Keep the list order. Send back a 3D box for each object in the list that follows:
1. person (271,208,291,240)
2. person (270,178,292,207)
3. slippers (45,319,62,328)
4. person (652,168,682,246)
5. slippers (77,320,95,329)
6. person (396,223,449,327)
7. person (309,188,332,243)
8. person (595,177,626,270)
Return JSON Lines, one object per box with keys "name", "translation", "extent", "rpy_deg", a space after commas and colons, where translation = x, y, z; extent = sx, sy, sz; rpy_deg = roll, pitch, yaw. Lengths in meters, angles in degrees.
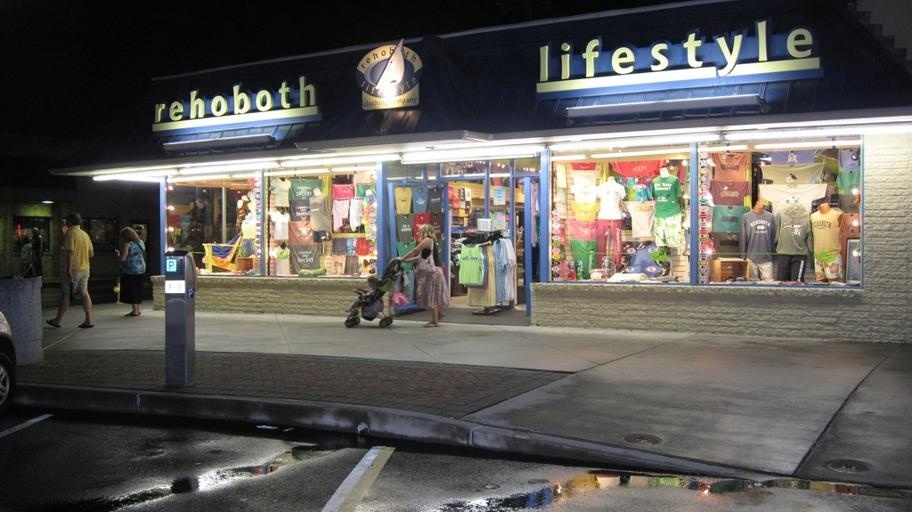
{"name": "person", "translation": [-5.356, -0.938, 18.589], "extent": [0.560, 0.961, 0.229], "rpy_deg": [0, 12, 7]}
{"name": "person", "translation": [-5.314, -1.914, 18.583], "extent": [0.988, 0.948, 0.578], "rpy_deg": [1, -1, -6]}
{"name": "slippers", "translation": [-10.819, 1.823, 16.309], "extent": [0.591, 0.167, 0.203], "rpy_deg": [10, 0, 9]}
{"name": "person", "translation": [5.213, -1.198, 15.124], "extent": [0.692, 2.018, 0.415], "rpy_deg": [3, 13, 21]}
{"name": "slippers", "translation": [-9.778, 1.861, 16.196], "extent": [0.191, 0.138, 0.491], "rpy_deg": [-2, -5, 12]}
{"name": "person", "translation": [-0.770, 0.571, 15.895], "extent": [1.055, 2.654, 1.049], "rpy_deg": [-3, 12, -6]}
{"name": "person", "translation": [-4.090, -1.204, 18.296], "extent": [0.757, 1.589, 0.458], "rpy_deg": [8, 16, 38]}
{"name": "person", "translation": [3.950, -0.769, 15.599], "extent": [0.657, 2.444, 0.690], "rpy_deg": [1, 12, 12]}
